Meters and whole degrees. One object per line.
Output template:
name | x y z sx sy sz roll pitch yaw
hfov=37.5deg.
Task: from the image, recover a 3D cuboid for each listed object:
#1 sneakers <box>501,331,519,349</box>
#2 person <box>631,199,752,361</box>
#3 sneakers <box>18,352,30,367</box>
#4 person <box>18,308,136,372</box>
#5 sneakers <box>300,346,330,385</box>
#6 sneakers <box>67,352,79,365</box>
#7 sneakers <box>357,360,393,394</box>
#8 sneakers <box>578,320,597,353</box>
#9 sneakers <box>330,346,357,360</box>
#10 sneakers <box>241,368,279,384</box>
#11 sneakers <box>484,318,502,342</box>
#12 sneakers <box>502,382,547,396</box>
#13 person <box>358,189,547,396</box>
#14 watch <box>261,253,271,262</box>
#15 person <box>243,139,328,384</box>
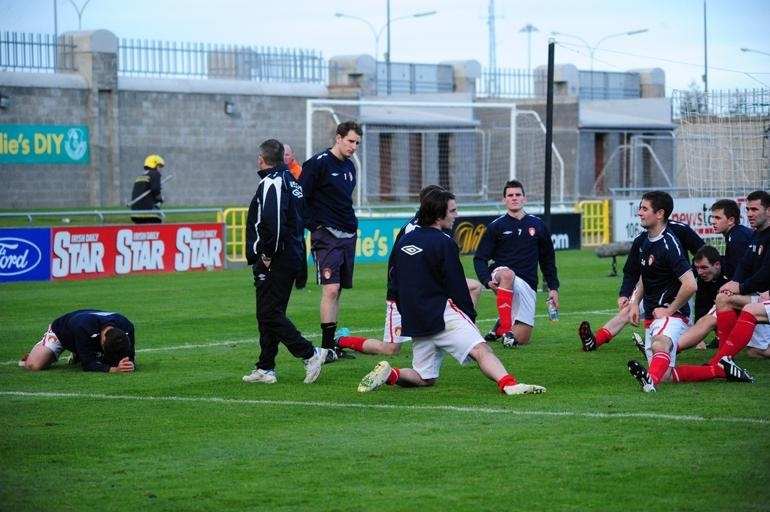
sneakers | 1.686 1.153 15.380 0.220 0.216 0.146 -29 -19 -3
person | 4.478 0.102 15.864 1.439 2.318 0.986 11 -16 -9
sneakers | -4.555 1.330 14.327 0.137 0.141 0.233 1 -1 -8
person | -3.629 1.055 13.934 1.166 0.429 0.760 4 6 42
sneakers | -0.845 1.304 13.592 0.251 0.516 0.176 17 0 -20
sneakers | -3.939 1.320 14.376 0.105 0.137 0.306 2 2 -3
sneakers | -0.117 1.434 13.102 0.483 0.240 0.206 -39 -44 24
sneakers | 2.695 1.076 15.110 0.232 0.458 0.172 -6 1 12
sneakers | -0.543 1.266 14.778 0.372 0.154 0.123 4 20 -3
sneakers | -1.481 1.437 13.511 0.406 0.183 0.159 2 1 6
sneakers | 1.519 1.095 15.866 0.141 0.181 0.408 7 -5 -8
sneakers | 1.565 1.480 12.894 0.383 0.120 0.190 -6 -2 1
person | 0.675 0.435 12.940 1.385 2.282 0.462 0 10 5
watch | -1.375 0.026 13.262 0.106 0.082 0.053 -2 10 -7
person | -1.205 0.100 13.465 0.906 2.853 0.795 4 12 29
